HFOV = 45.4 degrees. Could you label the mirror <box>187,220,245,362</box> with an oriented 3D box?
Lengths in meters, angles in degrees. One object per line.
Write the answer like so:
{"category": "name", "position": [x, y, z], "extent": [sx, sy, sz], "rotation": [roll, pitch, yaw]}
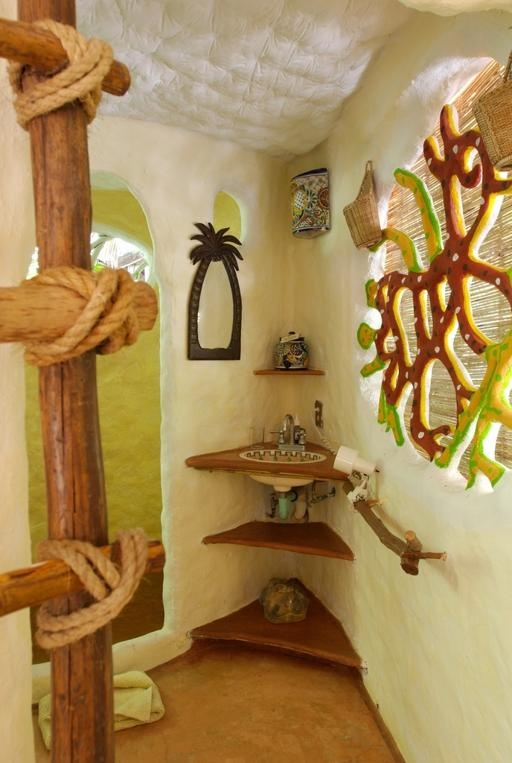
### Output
{"category": "mirror", "position": [-0.184, -0.415, 2.892], "extent": [0.101, 0.648, 0.392], "rotation": [3, 7, 32]}

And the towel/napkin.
{"category": "towel/napkin", "position": [-0.613, 1.279, 2.422], "extent": [0.480, 0.095, 0.299], "rotation": [-3, 7, -22]}

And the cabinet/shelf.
{"category": "cabinet/shelf", "position": [0.204, 0.591, 2.872], "extent": [0.813, 1.278, 0.720], "rotation": [3, 7, 31]}

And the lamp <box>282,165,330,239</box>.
{"category": "lamp", "position": [0.248, -0.806, 2.865], "extent": [0.192, 0.344, 0.256], "rotation": [2, -11, 0]}

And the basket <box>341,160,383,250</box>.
{"category": "basket", "position": [0.400, -0.651, 2.236], "extent": [0.125, 0.317, 0.152], "rotation": [-2, 6, -11]}

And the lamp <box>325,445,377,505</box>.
{"category": "lamp", "position": [0.377, 0.356, 2.310], "extent": [0.156, 0.214, 0.217], "rotation": [0, 6, 9]}
